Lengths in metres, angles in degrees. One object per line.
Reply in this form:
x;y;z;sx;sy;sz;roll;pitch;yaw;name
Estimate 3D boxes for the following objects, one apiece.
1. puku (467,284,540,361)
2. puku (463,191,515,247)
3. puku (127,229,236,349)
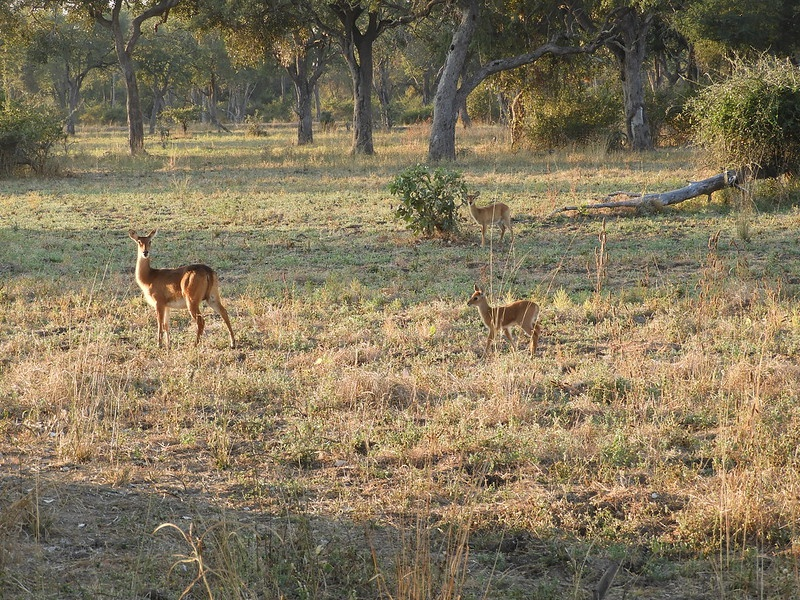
2.004;0.354;23.536;1.240;1.326;0.621;-1;6;6;puku
2.135;-1.923;29.295;1.197;1.341;0.492;-2;3;-19;puku
-4.380;-0.195;23.991;2.353;2.379;0.719;1;5;27;puku
